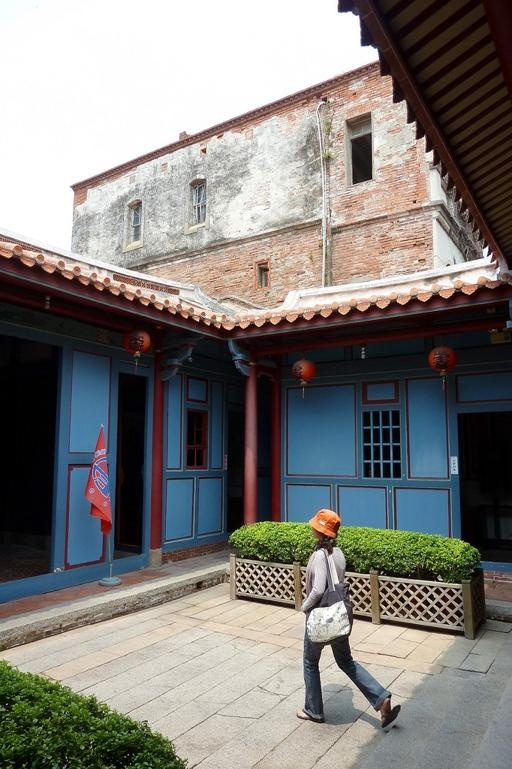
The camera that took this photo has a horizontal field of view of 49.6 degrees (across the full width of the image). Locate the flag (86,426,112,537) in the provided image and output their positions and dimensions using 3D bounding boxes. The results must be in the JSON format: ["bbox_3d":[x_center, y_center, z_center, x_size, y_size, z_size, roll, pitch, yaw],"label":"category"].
[{"bbox_3d":[-1.844,1.142,6.547,0.279,1.277,0.412,0,-8,-8],"label":"flag"}]

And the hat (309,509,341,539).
[{"bbox_3d":[0.469,0.893,3.464,0.203,0.112,0.175,34,-6,-30],"label":"hat"}]

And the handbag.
[{"bbox_3d":[0.416,1.226,3.209,0.258,0.504,0.202,-1,-7,2],"label":"handbag"}]
